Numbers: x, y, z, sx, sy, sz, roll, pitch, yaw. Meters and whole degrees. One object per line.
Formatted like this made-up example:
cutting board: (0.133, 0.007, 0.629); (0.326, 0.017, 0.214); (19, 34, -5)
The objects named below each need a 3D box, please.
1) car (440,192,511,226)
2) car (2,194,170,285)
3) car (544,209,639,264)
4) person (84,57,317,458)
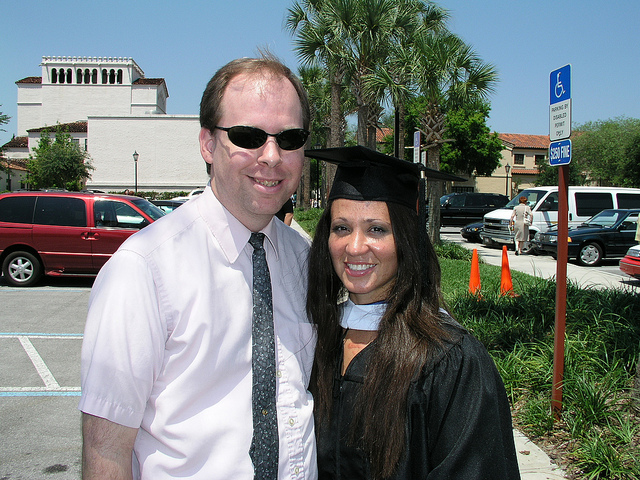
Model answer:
car: (7.007, -1.508, 26.718); (3.384, 1.511, 1.657); (1, 0, 0)
car: (-4.850, -0.207, 11.699); (4.137, 1.741, 2.110); (-1, 1, -8)
car: (7.238, -0.061, 15.093); (2.619, 1.217, 1.646); (0, -1, -3)
person: (-0.549, 0.069, 2.871); (1.133, 2.013, 0.586); (-1, 4, -16)
